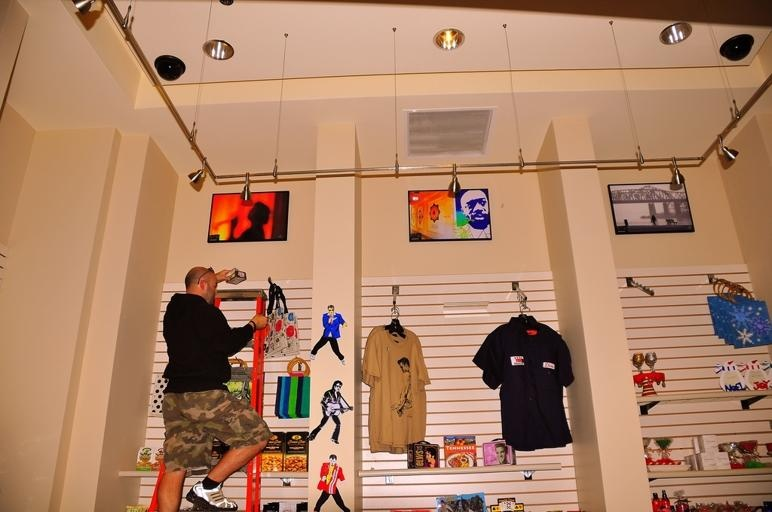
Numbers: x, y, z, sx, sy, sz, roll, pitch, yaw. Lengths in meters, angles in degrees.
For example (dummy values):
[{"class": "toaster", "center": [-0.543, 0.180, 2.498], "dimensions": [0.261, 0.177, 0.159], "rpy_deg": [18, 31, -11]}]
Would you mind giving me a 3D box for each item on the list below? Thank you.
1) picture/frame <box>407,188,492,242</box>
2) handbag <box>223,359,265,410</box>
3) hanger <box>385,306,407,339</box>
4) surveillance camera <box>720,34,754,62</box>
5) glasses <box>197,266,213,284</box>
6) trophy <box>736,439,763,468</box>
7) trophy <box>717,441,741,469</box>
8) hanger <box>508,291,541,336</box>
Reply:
[{"class": "picture/frame", "center": [0.927, -0.592, 8.074], "dimensions": [1.318, 0.759, 0.023], "rpy_deg": [-1, 4, 29]}, {"class": "handbag", "center": [-1.823, 1.670, 7.162], "dimensions": [0.561, 0.755, 0.572], "rpy_deg": [1, -4, 4]}, {"class": "hanger", "center": [0.117, 0.905, 7.467], "dimensions": [0.277, 0.530, 0.284], "rpy_deg": [-1, -25, -1]}, {"class": "surveillance camera", "center": [4.465, -2.644, 6.926], "dimensions": [0.289, 0.179, 0.290], "rpy_deg": [-9, -21, 22]}, {"class": "glasses", "center": [-2.110, 0.253, 6.220], "dimensions": [0.213, 0.209, 0.059], "rpy_deg": [-36, -70, 3]}, {"class": "trophy", "center": [4.572, 2.505, 6.840], "dimensions": [0.240, 0.274, 0.062], "rpy_deg": [-5, -15, 12]}, {"class": "trophy", "center": [4.374, 2.513, 6.836], "dimensions": [0.475, 0.313, 0.194], "rpy_deg": [17, -31, -34]}, {"class": "hanger", "center": [1.875, 0.779, 7.441], "dimensions": [0.335, 0.736, 0.304], "rpy_deg": [-9, -26, 14]}]
